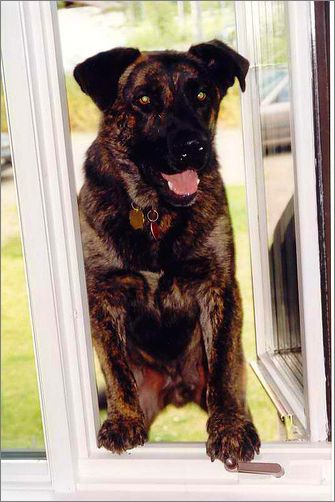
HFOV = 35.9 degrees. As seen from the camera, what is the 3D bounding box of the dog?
[{"bbox_3d":[-0.002,0.002,1.462,0.546,1.126,0.359,-5,17,10],"label":"dog"}]
